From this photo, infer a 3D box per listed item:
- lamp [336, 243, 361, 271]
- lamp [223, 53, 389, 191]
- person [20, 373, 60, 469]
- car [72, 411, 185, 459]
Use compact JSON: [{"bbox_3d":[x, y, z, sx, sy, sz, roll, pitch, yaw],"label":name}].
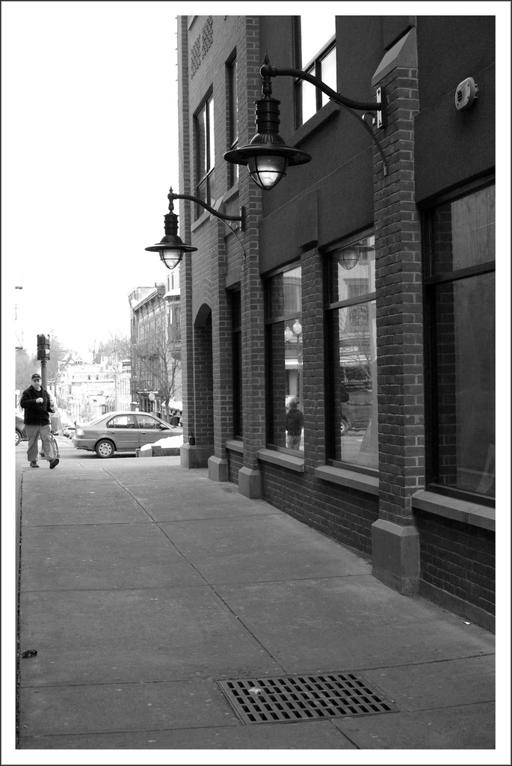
[{"bbox_3d":[0.912,-1.260,8.472,0.123,0.225,0.180,-1,-6,20],"label":"lamp"},{"bbox_3d":[0.352,-2.140,7.035,1.285,1.470,0.754,0,2,-23],"label":"lamp"},{"bbox_3d":[-4.226,0.729,16.828,0.670,1.894,2.303,0,0,-15],"label":"person"},{"bbox_3d":[-3.761,0.920,24.521,2.616,1.496,1.452,-5,3,-18],"label":"car"}]
